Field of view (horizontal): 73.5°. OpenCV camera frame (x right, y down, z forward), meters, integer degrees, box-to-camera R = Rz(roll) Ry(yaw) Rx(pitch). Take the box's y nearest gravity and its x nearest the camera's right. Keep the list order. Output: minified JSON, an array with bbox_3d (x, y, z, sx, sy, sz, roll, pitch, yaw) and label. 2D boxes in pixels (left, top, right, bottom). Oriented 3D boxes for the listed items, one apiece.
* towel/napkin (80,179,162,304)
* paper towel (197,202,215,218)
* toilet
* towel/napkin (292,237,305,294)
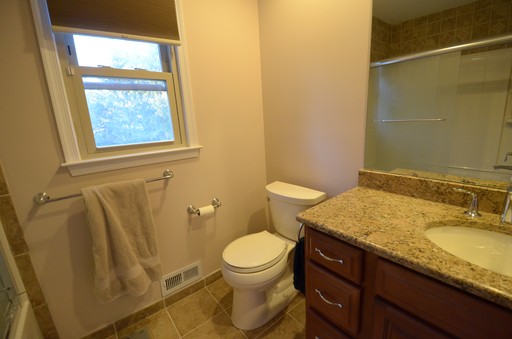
[{"bbox_3d":[-0.966,0.535,2.488,0.487,0.883,0.233,-18,27,-35],"label":"towel/napkin"},{"bbox_3d":[-0.410,0.340,2.807,0.158,0.080,0.058,-14,12,-35],"label":"paper towel"},{"bbox_3d":[0.081,0.675,2.819,0.862,0.966,0.578,-14,24,-37],"label":"toilet"},{"bbox_3d":[0.289,0.645,2.310,0.073,0.437,0.175,-1,15,5],"label":"towel/napkin"}]
